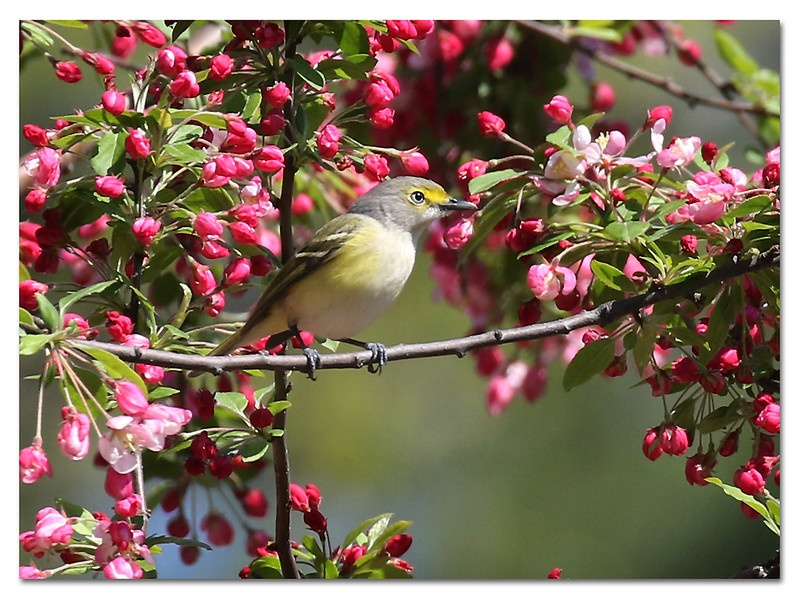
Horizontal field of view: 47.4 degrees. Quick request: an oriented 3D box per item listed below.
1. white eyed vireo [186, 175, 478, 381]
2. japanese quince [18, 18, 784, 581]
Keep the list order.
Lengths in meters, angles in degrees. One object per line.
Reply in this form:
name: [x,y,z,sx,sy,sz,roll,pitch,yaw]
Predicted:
white eyed vireo: [-0.227,-0.133,4.305,0.708,1.294,1.413,8,-5,4]
japanese quince: [-0.183,-0.147,4.989,3.409,2.036,3.443,-2,5,-5]
